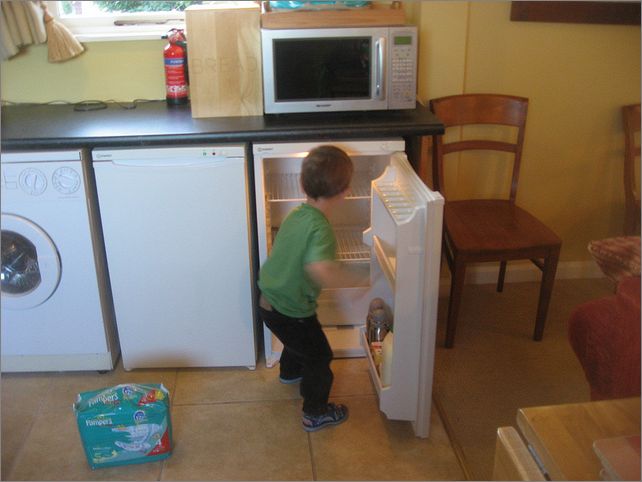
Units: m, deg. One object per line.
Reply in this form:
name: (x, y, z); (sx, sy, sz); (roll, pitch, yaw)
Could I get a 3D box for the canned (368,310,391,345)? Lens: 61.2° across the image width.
canned: (0.258, 0.389, 2.419); (0.070, 0.134, 0.081); (5, 51, 2)

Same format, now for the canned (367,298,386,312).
canned: (0.251, 0.286, 2.487); (0.053, 0.052, 0.060); (19, 32, 9)

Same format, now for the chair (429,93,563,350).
chair: (0.886, -0.128, 2.865); (0.563, 1.179, 0.683); (-3, 24, 0)

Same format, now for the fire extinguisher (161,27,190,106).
fire extinguisher: (-0.739, -0.882, 2.773); (0.128, 0.360, 0.069); (-8, 24, -13)
